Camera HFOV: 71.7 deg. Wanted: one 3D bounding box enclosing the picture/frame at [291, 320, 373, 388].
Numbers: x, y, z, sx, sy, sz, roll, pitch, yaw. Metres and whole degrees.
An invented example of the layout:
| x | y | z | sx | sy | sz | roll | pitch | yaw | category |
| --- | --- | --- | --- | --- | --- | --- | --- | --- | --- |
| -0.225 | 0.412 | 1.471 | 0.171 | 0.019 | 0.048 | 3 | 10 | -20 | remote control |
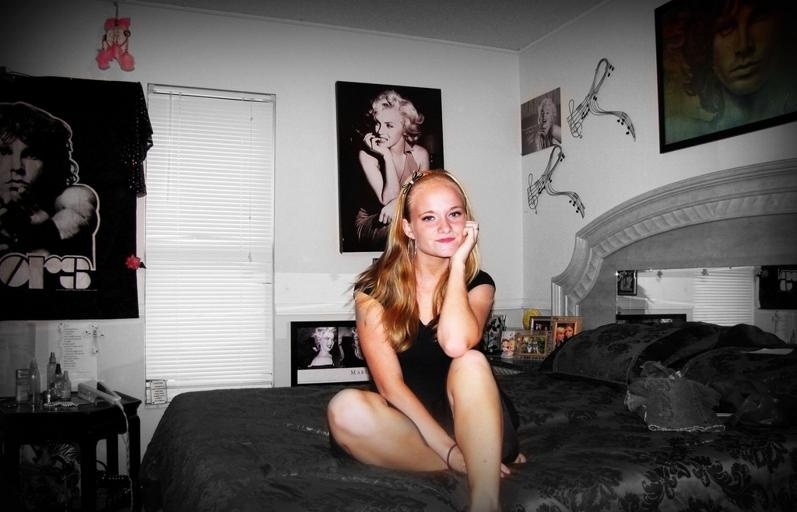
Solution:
| x | y | z | sx | sy | sz | roll | pitch | yaw | category |
| --- | --- | --- | --- | --- | --- | --- | --- | --- | --- |
| -0.647 | 0.920 | 5.060 | 0.852 | 0.605 | 0.058 | -2 | -5 | -9 | picture/frame |

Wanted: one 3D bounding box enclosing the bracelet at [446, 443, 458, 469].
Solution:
| x | y | z | sx | sy | sz | roll | pitch | yaw | category |
| --- | --- | --- | --- | --- | --- | --- | --- | --- | --- |
| 0.265 | 1.020 | 2.793 | 0.054 | 0.131 | 0.061 | 0 | 10 | 1 | bracelet |

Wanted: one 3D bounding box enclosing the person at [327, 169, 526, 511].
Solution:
| x | y | z | sx | sy | sz | roll | pitch | yaw | category |
| --- | --- | --- | --- | --- | --- | --- | --- | --- | --- |
| 0.166 | 0.328 | 2.939 | 1.041 | 1.540 | 0.903 | 3 | 10 | 19 | person |

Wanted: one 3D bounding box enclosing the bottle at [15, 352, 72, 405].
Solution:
| x | y | z | sx | sy | sz | roll | pitch | yaw | category |
| --- | --- | --- | --- | --- | --- | --- | --- | --- | --- |
| -2.840 | 0.984 | 4.398 | 0.370 | 0.424 | 0.147 | 0 | 0 | -12 | bottle |
